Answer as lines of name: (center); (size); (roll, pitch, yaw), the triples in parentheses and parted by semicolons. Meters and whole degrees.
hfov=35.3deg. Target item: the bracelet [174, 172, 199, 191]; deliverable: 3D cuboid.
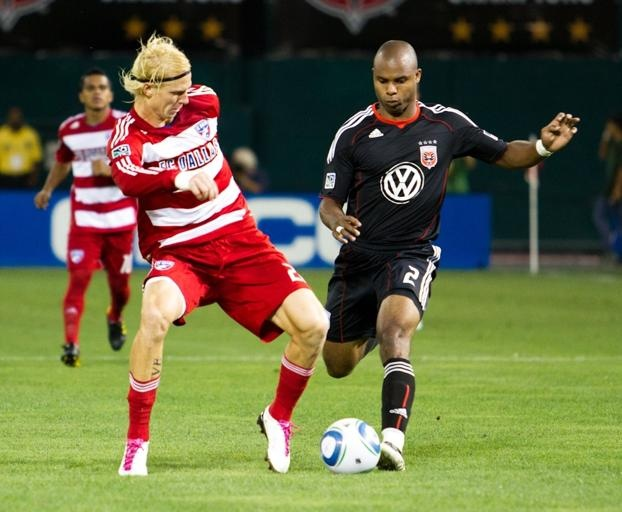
bracelet: (-0.616, -0.372, 4.832); (0.103, 0.087, 0.119); (6, 11, 15)

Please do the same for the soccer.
soccer: (0.204, 0.966, 4.925); (0.281, 0.249, 0.252); (3, -19, 1)

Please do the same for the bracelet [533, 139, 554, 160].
bracelet: (1.334, -0.618, 5.664); (0.108, 0.073, 0.102); (10, 39, -50)

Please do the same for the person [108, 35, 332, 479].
person: (-0.517, -0.017, 5.079); (1.071, 2.189, 0.845); (0, 11, -12)

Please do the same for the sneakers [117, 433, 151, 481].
sneakers: (-0.891, 1.002, 4.872); (0.146, 0.194, 0.237); (0, 11, -11)

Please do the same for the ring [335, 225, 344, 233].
ring: (0.160, -0.151, 5.379); (0.027, 0.034, 0.035); (7, 45, -13)

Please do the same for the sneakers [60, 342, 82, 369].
sneakers: (-1.793, 0.733, 7.253); (0.110, 0.216, 0.199); (1, 11, -8)

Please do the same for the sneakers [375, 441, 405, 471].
sneakers: (0.403, 1.005, 4.905); (0.081, 0.200, 0.091); (-7, 49, 18)

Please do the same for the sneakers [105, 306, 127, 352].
sneakers: (-1.673, 0.642, 8.477); (0.150, 0.408, 0.188); (-8, 8, -10)

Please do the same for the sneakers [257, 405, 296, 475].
sneakers: (-0.176, 0.967, 5.108); (0.115, 0.135, 0.311); (22, 33, -37)
